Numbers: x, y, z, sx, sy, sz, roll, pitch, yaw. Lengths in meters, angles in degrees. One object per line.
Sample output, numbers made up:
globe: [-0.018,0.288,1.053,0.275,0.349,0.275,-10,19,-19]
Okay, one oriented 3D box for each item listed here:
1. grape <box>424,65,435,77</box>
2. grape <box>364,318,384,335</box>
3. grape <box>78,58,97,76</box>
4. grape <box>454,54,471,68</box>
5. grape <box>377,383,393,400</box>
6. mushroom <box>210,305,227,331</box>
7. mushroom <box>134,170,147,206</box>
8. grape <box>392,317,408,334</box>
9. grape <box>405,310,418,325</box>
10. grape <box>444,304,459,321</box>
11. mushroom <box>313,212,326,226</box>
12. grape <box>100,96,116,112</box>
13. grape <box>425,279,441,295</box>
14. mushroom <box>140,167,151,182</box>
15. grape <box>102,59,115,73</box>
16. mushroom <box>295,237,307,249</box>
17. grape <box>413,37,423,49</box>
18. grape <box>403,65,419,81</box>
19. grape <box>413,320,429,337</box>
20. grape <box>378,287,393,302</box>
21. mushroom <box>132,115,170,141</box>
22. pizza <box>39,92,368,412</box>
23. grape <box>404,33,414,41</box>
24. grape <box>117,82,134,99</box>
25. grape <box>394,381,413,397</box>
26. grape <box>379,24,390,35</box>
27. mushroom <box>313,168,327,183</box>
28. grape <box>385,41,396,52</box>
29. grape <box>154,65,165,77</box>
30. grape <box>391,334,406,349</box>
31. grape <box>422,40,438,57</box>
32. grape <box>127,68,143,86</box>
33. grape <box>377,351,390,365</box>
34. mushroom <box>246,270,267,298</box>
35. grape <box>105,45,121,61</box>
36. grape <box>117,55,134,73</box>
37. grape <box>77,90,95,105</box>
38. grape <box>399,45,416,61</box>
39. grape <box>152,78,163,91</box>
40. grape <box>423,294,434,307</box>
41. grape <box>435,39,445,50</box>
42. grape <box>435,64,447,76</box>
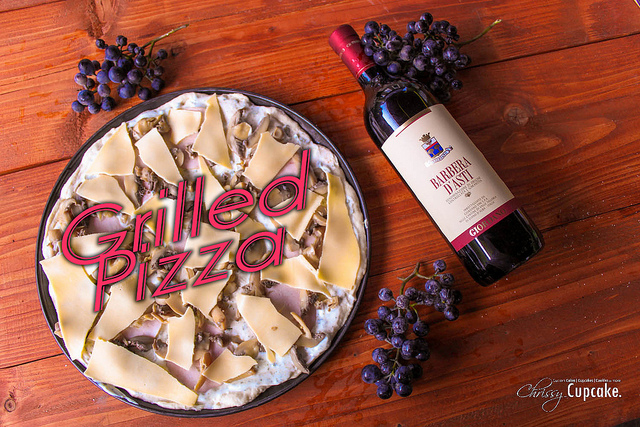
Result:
grape: [0.357,-0.461,1.902,0.027,0.019,0.007,-9,42,15]
grape: [0.169,0.355,1.868,0.052,0.018,0.050,11,89,-2]
grape: [-0.767,-0.484,1.957,0.035,0.031,0.068,-35,114,-12]
grape: [0.466,-0.495,1.942,0.052,0.025,0.050,-8,105,-7]
grape: [0.206,0.552,1.862,0.048,0.045,0.054,0,87,7]
mushroom: [-0.332,0.336,1.926,0.048,0.019,0.080,-30,84,-31]
mushroom: [-0.584,-0.084,1.939,0.029,0.034,0.110,5,99,38]
grape: [0.252,0.347,1.859,0.049,0.039,0.049,6,66,-7]
grape: [0.292,0.325,1.878,0.036,0.034,0.041,-3,90,10]
grape: [0.419,0.313,1.883,0.042,0.029,0.051,-1,93,5]
mushroom: [-0.001,0.016,1.919,0.047,0.019,0.027,34,92,0]
grape: [-0.707,-0.367,1.981,0.037,0.037,0.048,-24,118,-21]
grape: [0.357,0.228,1.860,0.046,0.026,0.045,-1,100,12]
mushroom: [-0.566,-0.126,1.931,0.030,0.014,0.038,1,94,0]
grape: [-0.703,-0.490,1.967,0.036,0.024,0.042,5,82,-7]
mushroom: [-0.058,0.097,1.926,0.017,0.013,0.059,-17,101,-18]
grape: [0.318,-0.550,1.912,0.025,0.017,0.034,-2,85,-3]
grape: [0.295,-0.452,1.900,0.049,0.024,0.048,2,90,13]
grape: [0.320,0.360,1.875,0.049,0.025,0.047,-2,90,9]
grape: [0.211,0.256,1.891,0.039,0.026,0.043,0,96,3]
mushroom: [-0.552,-0.285,1.936,0.105,0.028,0.066,-26,93,3]
pizza: [-0.396,0.102,1.947,1.093,0.119,1.058,43,90,10]
grape: [0.294,-0.579,1.935,0.026,0.026,0.031,-10,51,-7]
grape: [-0.640,-0.408,1.958,0.051,0.047,0.052,-3,88,34]
grape: [0.263,0.546,1.853,0.051,0.048,0.041,4,66,-8]
grape: [0.206,-0.600,1.933,0.032,0.018,0.031,-1,89,7]
mushroom: [0.001,-0.129,1.936,0.042,0.011,0.040,-8,94,13]
grape: [0.226,-0.533,1.889,0.030,0.018,0.029,2,96,16]
grape: [-0.535,-0.476,1.972,0.028,0.018,0.032,-1,82,-9]
grape: [0.245,0.395,1.863,0.044,0.025,0.042,-4,100,-9]
grape: [0.351,-0.525,1.880,0.048,0.026,0.047,2,93,13]
grape: [-0.607,-0.449,1.945,0.054,0.030,0.052,10,91,0]
grape: [0.200,0.454,1.875,0.036,0.025,0.038,0,67,-10]
mushroom: [-0.196,0.226,1.911,0.063,0.037,0.077,8,65,-6]
grape: [-0.679,-0.527,1.946,0.045,0.024,0.043,0,93,-1]
grape: [-0.640,-0.498,1.960,0.035,0.061,0.030,13,113,-15]
grape: [-0.774,-0.386,1.968,0.046,0.024,0.044,3,93,-13]
grape: [0.277,-0.510,1.879,0.047,0.026,0.046,5,95,0]
grape: [-0.544,-0.437,1.988,0.034,0.021,0.023,-38,60,31]
grape: [0.346,0.272,1.886,0.034,0.036,0.030,-4,68,-12]
grape: [0.387,-0.544,1.899,0.036,0.012,0.035,5,67,-10]
grape: [0.388,-0.460,1.892,0.032,0.017,0.031,-1,96,0]
